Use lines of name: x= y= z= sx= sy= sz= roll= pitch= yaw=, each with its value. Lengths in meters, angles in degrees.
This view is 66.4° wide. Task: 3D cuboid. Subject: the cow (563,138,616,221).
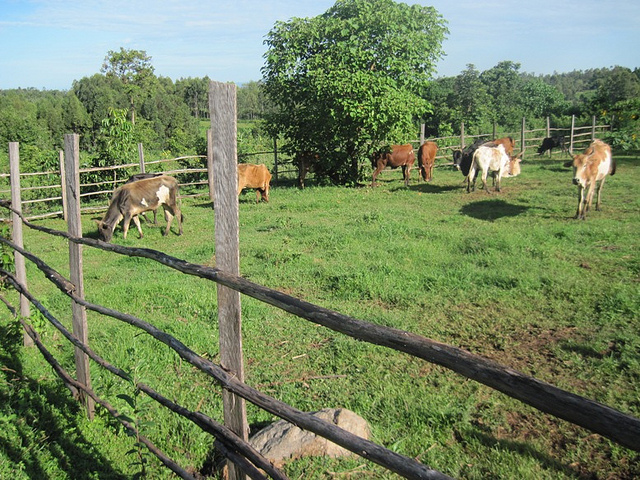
cow: x=7.039 y=-1.587 z=12.816 sx=0.776 sy=1.876 sz=2.252 roll=5 pitch=10 yaw=33

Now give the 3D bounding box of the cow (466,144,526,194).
cow: x=6.080 y=-2.535 z=16.955 sx=2.438 sy=1.748 sz=0.557 roll=-3 pitch=10 yaw=-28

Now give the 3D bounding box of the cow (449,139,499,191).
cow: x=6.062 y=-2.765 z=18.174 sx=0.770 sy=1.864 sz=2.926 roll=-4 pitch=4 yaw=-34

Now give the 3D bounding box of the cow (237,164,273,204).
cow: x=-2.150 y=-1.811 z=15.627 sx=0.652 sy=1.216 sz=1.221 roll=8 pitch=12 yaw=43

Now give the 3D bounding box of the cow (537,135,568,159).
cow: x=12.152 y=-4.848 z=25.329 sx=1.349 sy=1.111 sz=1.055 roll=-5 pitch=10 yaw=-26

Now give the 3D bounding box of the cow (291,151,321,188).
cow: x=-0.485 y=-2.785 z=19.055 sx=0.834 sy=1.355 sz=1.279 roll=-3 pitch=9 yaw=-16

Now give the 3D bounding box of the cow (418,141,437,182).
cow: x=4.247 y=-3.052 z=19.125 sx=0.587 sy=1.313 sz=2.402 roll=-7 pitch=25 yaw=23

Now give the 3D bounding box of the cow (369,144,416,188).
cow: x=2.708 y=-2.807 z=18.378 sx=1.658 sy=1.588 sz=1.175 roll=0 pitch=9 yaw=4

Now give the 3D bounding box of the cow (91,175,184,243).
cow: x=-4.611 y=-0.845 z=12.462 sx=2.037 sy=1.544 sz=0.983 roll=-5 pitch=10 yaw=-28
